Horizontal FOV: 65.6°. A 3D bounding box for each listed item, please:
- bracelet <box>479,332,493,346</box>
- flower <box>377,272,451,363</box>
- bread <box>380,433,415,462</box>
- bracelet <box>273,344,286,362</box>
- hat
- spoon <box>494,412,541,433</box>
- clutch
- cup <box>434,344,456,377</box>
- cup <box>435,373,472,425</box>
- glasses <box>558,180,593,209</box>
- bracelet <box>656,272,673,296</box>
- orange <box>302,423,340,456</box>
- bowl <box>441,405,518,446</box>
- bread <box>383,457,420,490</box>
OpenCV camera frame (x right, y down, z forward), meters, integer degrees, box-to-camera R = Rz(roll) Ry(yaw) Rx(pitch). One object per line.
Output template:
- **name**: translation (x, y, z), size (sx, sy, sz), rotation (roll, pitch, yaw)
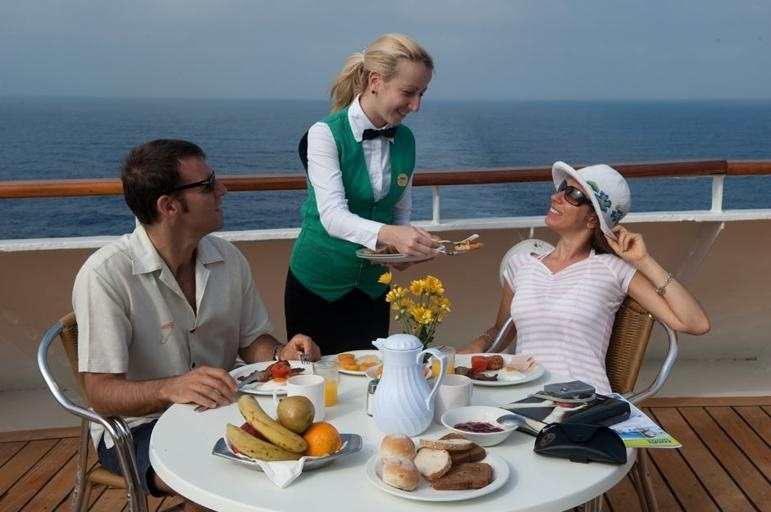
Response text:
- **bracelet**: translation (0.509, 0.405, 2.940), size (0.046, 0.020, 0.052), rotation (16, 28, 20)
- **flower**: translation (0.166, 0.236, 2.254), size (0.199, 0.263, 0.214), rotation (13, -4, 42)
- **bread**: translation (0.041, 0.592, 1.865), size (0.087, 0.049, 0.084), rotation (8, -1, -14)
- **bracelet**: translation (-0.482, 0.437, 2.701), size (0.059, 0.082, 0.090), rotation (0, 9, 8)
- **hat**: translation (1.086, -0.363, 3.013), size (0.372, 0.176, 0.412), rotation (33, 15, -4)
- **spoon**: translation (0.450, 0.575, 2.078), size (0.061, 0.030, 0.203), rotation (0, 5, -34)
- **clutch**: translation (0.639, 0.608, 1.946), size (0.323, 0.108, 0.161), rotation (-1, 29, 13)
- **cup**: translation (0.234, 0.387, 2.226), size (0.102, 0.112, 0.107), rotation (0, 4, 0)
- **cup**: translation (0.242, 0.499, 2.136), size (0.112, 0.151, 0.173), rotation (1, -1, 1)
- **glasses**: translation (0.915, -0.297, 2.903), size (0.109, 0.046, 0.131), rotation (29, -5, 42)
- **bracelet**: translation (1.316, 0.130, 2.822), size (0.033, 0.090, 0.081), rotation (27, -2, -17)
- **orange**: translation (-0.205, 0.584, 1.907), size (0.100, 0.094, 0.095), rotation (-6, -17, -2)
- **bowl**: translation (0.306, 0.563, 1.989), size (0.270, 0.071, 0.268), rotation (1, 7, 0)
- **bread**: translation (0.046, 0.645, 1.819), size (0.096, 0.053, 0.098), rotation (13, 1, -10)
